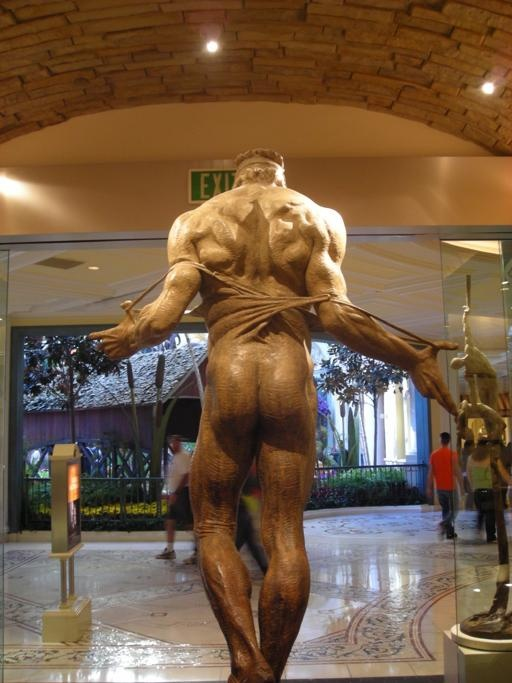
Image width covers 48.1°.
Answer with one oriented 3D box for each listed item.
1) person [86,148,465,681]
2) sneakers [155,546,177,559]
[{"bbox_3d":[0.009,0.106,1.782,1.001,1.698,0.378,1,-13,-15],"label":"person"},{"bbox_3d":[-1.280,2.965,8.064,0.311,0.160,0.144,4,-13,5],"label":"sneakers"}]
